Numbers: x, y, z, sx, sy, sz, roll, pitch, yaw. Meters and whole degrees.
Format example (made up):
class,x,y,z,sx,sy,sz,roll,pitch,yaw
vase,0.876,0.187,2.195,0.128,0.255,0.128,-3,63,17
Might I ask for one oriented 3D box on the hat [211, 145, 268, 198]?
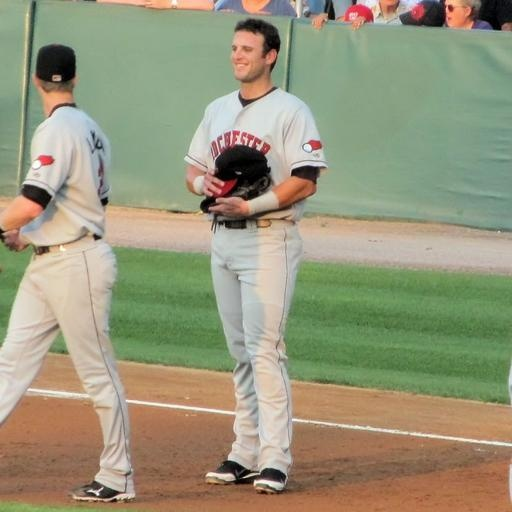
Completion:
class,x,y,z,sx,sy,sz,roll,pitch,yaw
hat,-0.070,-0.440,5.440,0.210,0.180,0.311,4,-9,26

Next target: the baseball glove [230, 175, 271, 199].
class,x,y,z,sx,sy,sz,roll,pitch,yaw
baseball glove,-0.016,-0.365,5.485,0.170,0.062,0.121,-29,-3,6

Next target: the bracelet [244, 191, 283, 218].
class,x,y,z,sx,sy,sz,roll,pitch,yaw
bracelet,0.047,-0.275,5.454,0.148,0.127,0.116,-2,-9,15

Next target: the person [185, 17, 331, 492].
class,x,y,z,sx,sy,sz,roll,pitch,yaw
person,0.014,0.026,5.584,0.630,2.568,1.111,0,14,-19

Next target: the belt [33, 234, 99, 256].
class,x,y,z,sx,sy,sz,roll,pitch,yaw
belt,-0.965,-0.054,5.167,0.202,0.048,0.148,-19,1,-22

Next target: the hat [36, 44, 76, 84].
class,x,y,z,sx,sy,sz,roll,pitch,yaw
hat,-1.031,-0.985,5.241,0.192,0.161,0.207,4,15,6

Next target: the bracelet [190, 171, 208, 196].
class,x,y,z,sx,sy,sz,roll,pitch,yaw
bracelet,-0.306,-0.399,5.612,0.084,0.098,0.109,3,3,15
